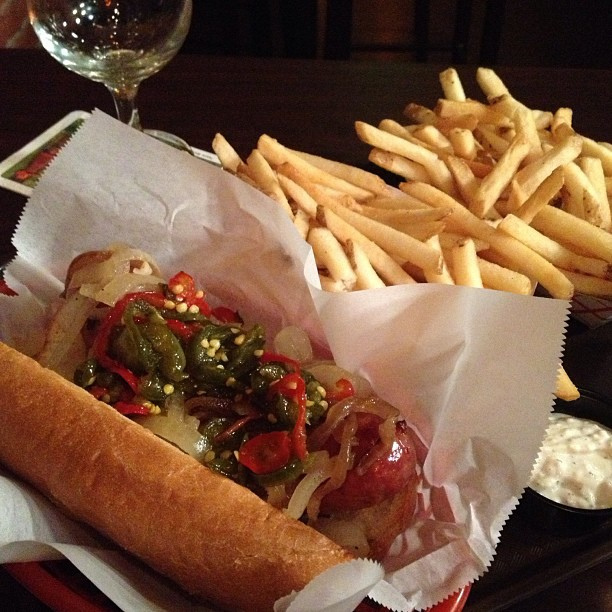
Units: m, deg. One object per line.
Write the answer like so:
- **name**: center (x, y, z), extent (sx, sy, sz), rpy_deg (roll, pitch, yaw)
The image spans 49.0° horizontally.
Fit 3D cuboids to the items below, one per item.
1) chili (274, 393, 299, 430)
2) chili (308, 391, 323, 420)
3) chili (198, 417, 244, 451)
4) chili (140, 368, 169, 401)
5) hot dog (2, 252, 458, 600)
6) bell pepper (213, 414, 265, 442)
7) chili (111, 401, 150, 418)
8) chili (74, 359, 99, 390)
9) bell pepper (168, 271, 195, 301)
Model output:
- **chili**: center (-0.043, 0.216, 1.355), extent (0.061, 0.061, 0.028), rpy_deg (-3, 4, 36)
- **chili**: center (0.020, 0.208, 1.390), extent (0.039, 0.022, 0.046), rpy_deg (4, 82, -11)
- **chili**: center (-0.180, 0.271, 1.399), extent (0.089, 0.018, 0.064), rpy_deg (5, 64, -4)
- **chili**: center (-0.318, 0.164, 1.405), extent (0.067, 0.023, 0.063), rpy_deg (6, 77, -20)
- **hot dog**: center (-0.284, 0.332, 1.564), extent (1.169, 0.367, 0.513), rpy_deg (25, 60, 11)
- **bell pepper**: center (-0.139, 0.258, 1.398), extent (0.115, 0.024, 0.018), rpy_deg (-24, 11, -31)
- **chili**: center (-0.374, 0.220, 1.427), extent (0.058, 0.011, 0.048), rpy_deg (10, 22, 5)
- **chili**: center (-0.494, 0.152, 1.482), extent (0.059, 0.060, 0.024), rpy_deg (13, -6, 37)
- **bell pepper**: center (-0.292, -0.050, 1.565), extent (0.063, 0.017, 0.065), rpy_deg (7, 49, -17)
